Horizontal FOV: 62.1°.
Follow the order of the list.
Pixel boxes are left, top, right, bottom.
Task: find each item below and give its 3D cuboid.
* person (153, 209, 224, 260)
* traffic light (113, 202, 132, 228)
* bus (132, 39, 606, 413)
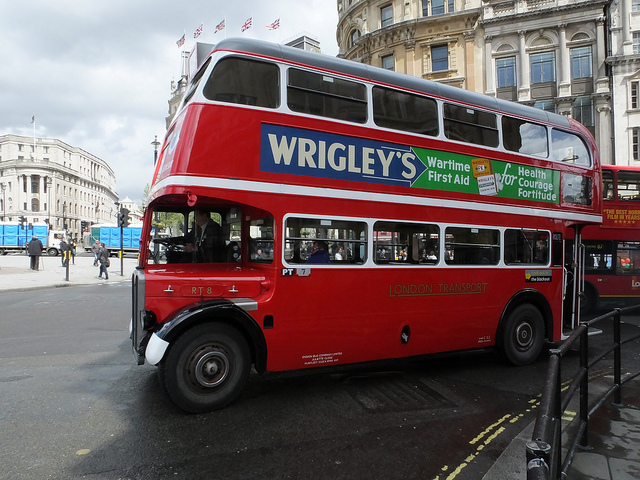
[{"bbox_3d":[-2.132,-0.143,8.937,0.965,0.758,0.576,-13,2,-18],"label":"person"},{"bbox_3d":[-8.172,-1.002,22.069,0.435,0.905,1.498,-4,11,-21],"label":"traffic light"},{"bbox_3d":[1.181,-0.305,10.375,9.190,5.297,3.459,2,0,-27],"label":"bus"}]
